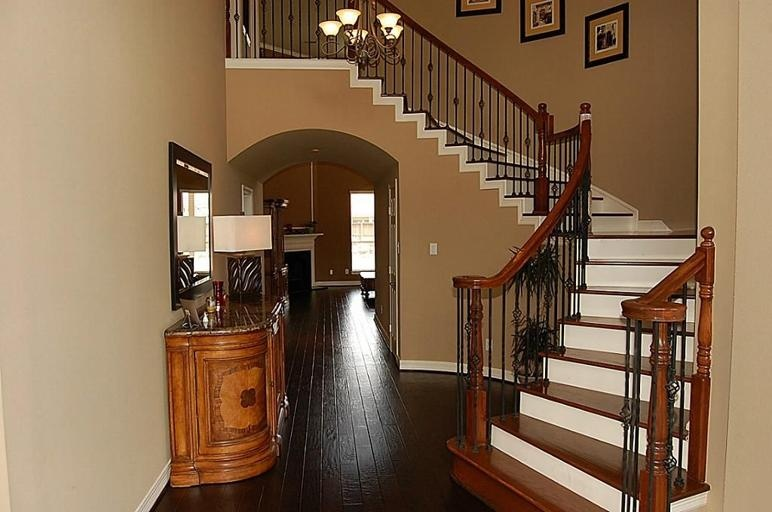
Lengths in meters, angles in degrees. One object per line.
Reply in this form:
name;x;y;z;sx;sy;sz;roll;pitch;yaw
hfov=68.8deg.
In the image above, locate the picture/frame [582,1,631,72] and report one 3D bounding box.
picture/frame;2.993;-2.990;7.594;0.062;0.894;0.880;-1;6;-42
